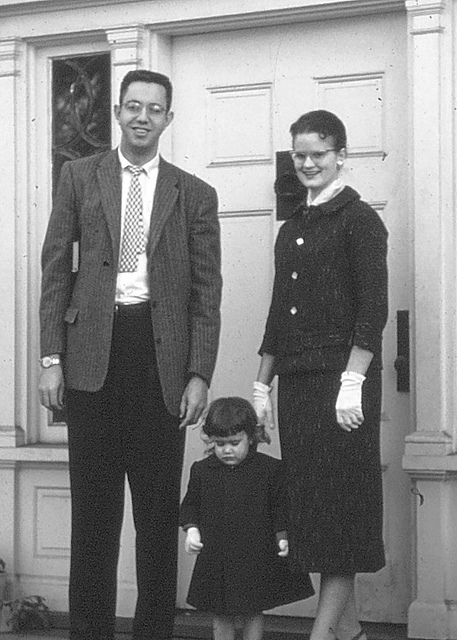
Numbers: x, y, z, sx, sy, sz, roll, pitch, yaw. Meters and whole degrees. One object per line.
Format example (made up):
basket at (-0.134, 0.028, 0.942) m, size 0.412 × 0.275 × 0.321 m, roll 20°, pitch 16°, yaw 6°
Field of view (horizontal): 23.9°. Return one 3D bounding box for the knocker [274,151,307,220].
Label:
knocker at (0.254, -0.548, 4.412) m, size 0.148 × 0.280 × 0.041 m, roll 3°, pitch 3°, yaw 20°

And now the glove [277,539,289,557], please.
glove at (0.182, 0.747, 3.522) m, size 0.030 × 0.055 × 0.023 m, roll -2°, pitch -15°, yaw -5°

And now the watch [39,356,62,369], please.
watch at (-0.531, 0.127, 3.176) m, size 0.049 × 0.029 × 0.044 m, roll -14°, pitch -13°, yaw 39°

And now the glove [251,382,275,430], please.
glove at (0.114, 0.281, 3.551) m, size 0.045 × 0.141 × 0.091 m, roll 6°, pitch -34°, yaw 11°

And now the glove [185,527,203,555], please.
glove at (-0.115, 0.750, 3.656) m, size 0.052 × 0.051 × 0.083 m, roll 10°, pitch 47°, yaw 11°

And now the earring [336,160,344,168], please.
earring at (0.358, -0.496, 3.444) m, size 0.005 × 0.020 × 0.021 m, roll 11°, pitch 10°, yaw 39°

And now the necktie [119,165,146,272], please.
necktie at (-0.286, -0.298, 3.210) m, size 0.072 × 0.317 × 0.127 m, roll 2°, pitch 3°, yaw -6°

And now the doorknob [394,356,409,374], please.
doorknob at (0.672, 0.180, 4.198) m, size 0.066 × 0.059 × 0.016 m, roll 6°, pitch 5°, yaw 27°

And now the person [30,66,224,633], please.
person at (-0.307, 0.083, 3.250) m, size 0.543 × 1.674 × 0.296 m, roll 2°, pitch 3°, yaw 0°

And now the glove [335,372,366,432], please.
glove at (0.360, 0.243, 3.175) m, size 0.070 × 0.176 × 0.072 m, roll 3°, pitch 3°, yaw 20°
